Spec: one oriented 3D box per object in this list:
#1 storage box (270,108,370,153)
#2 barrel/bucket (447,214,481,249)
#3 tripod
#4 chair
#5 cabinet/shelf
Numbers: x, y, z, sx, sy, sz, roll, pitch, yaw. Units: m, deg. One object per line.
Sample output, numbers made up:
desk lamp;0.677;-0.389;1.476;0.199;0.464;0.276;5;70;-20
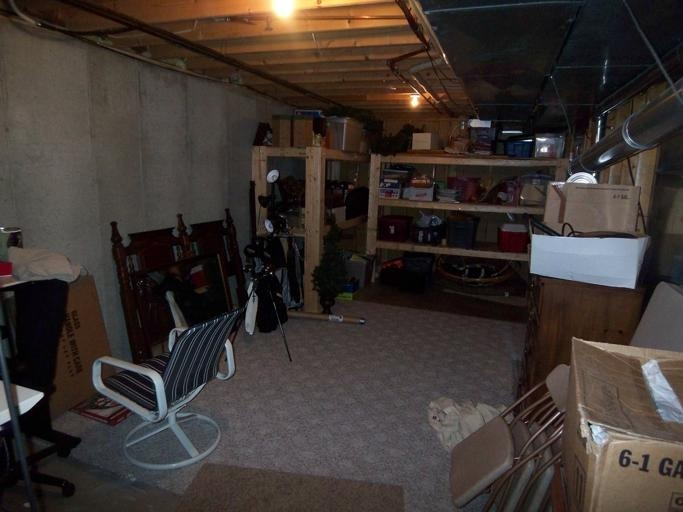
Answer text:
storage box;-0.232;-1.667;6.625;0.627;0.540;1.537;9;15;29
barrel/bucket;1.933;-0.330;7.724;0.600;0.433;0.486;8;3;19
tripod;-0.911;0.716;5.598;0.665;0.938;0.714;-4;-10;13
chair;-1.316;0.938;3.780;0.849;1.083;0.896;10;13;17
cabinet/shelf;0.912;-0.305;6.768;2.528;1.525;0.817;6;20;13
